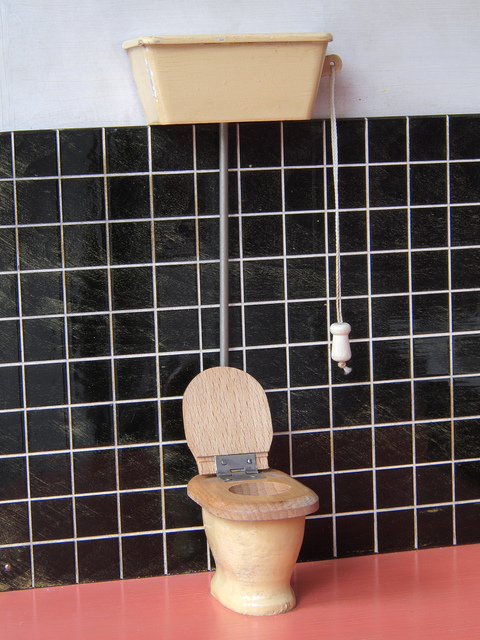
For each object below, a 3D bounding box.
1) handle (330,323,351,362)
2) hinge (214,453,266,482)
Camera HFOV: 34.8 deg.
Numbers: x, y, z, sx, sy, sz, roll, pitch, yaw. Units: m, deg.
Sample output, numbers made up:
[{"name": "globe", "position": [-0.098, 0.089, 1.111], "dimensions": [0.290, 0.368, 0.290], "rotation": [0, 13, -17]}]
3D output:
[{"name": "handle", "position": [0.290, 0.065, 2.199], "dimensions": [0.063, 0.115, 0.083], "rotation": [1, 36, 2]}, {"name": "hinge", "position": [-0.007, 0.403, 2.088], "dimensions": [0.122, 0.047, 0.085], "rotation": [-4, 33, -7]}]
